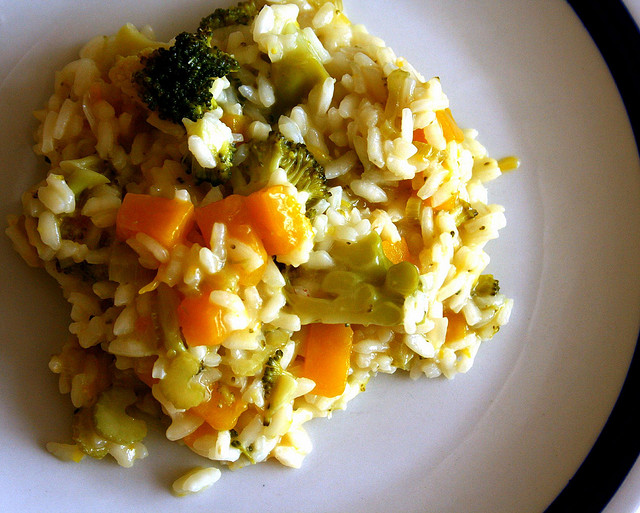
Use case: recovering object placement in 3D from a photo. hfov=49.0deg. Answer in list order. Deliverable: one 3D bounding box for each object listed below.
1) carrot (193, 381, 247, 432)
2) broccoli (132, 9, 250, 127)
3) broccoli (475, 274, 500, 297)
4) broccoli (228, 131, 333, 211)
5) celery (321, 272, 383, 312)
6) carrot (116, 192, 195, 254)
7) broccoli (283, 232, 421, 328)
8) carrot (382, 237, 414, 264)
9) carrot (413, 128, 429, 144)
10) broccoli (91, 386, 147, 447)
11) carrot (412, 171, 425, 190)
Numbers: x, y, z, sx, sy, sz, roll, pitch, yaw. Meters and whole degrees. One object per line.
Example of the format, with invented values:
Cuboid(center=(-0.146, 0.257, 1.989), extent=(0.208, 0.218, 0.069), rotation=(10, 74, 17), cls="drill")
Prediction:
Cuboid(center=(-0.389, 0.573, 2.720), extent=(0.202, 0.198, 0.058), rotation=(5, 8, -10), cls="carrot")
Cuboid(center=(-0.491, -0.755, 2.735), extent=(0.448, 0.496, 0.284), rotation=(2, 9, -28), cls="broccoli")
Cuboid(center=(0.708, 0.124, 2.976), extent=(0.078, 0.091, 0.030), rotation=(2, -25, 12), cls="broccoli")
Cuboid(center=(-0.148, -0.326, 2.626), extent=(0.297, 0.301, 0.116), rotation=(7, 45, 37), cls="broccoli")
Cuboid(center=(0.115, 0.130, 2.671), extent=(0.207, 0.145, 0.148), rotation=(-3, 11, -23), cls="celery")
Cuboid(center=(-0.603, -0.149, 2.574), extent=(0.167, 0.210, 0.291), rotation=(8, 12, 25), cls="carrot")
Cuboid(center=(0.129, 0.128, 2.661), extent=(0.451, 0.349, 0.119), rotation=(-28, -9, 24), cls="broccoli")
Cuboid(center=(0.312, -0.018, 2.807), extent=(0.105, 0.113, 0.028), rotation=(-24, 10, -33), cls="carrot")
Cuboid(center=(0.400, -0.489, 2.833), extent=(0.050, 0.056, 0.018), rotation=(-7, 6, 40), cls="carrot")
Cuboid(center=(-0.808, 0.633, 2.783), extent=(0.058, 0.224, 0.218), rotation=(-22, 10, 48), cls="broccoli")
Cuboid(center=(0.395, -0.309, 2.827), extent=(0.051, 0.077, 0.029), rotation=(14, 11, 40), cls="carrot")
